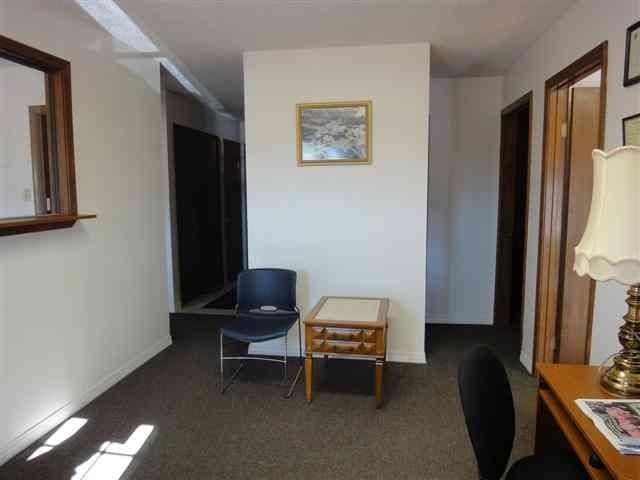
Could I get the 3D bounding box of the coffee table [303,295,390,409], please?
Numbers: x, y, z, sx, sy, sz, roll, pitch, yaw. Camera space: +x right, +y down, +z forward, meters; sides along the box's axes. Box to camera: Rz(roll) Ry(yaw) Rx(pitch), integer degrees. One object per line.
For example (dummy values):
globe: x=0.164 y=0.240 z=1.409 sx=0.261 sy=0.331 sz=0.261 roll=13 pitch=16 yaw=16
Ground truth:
coffee table: x=0.224 y=0.903 z=4.086 sx=0.664 sy=0.748 sz=0.671 roll=2 pitch=5 yaw=10

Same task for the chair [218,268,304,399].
chair: x=-0.494 y=0.726 z=4.310 sx=0.876 sy=1.349 sz=0.989 roll=1 pitch=2 yaw=7

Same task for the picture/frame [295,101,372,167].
picture/frame: x=0.154 y=-0.996 z=4.406 sx=0.616 sy=0.486 sz=0.045 roll=1 pitch=4 yaw=3
